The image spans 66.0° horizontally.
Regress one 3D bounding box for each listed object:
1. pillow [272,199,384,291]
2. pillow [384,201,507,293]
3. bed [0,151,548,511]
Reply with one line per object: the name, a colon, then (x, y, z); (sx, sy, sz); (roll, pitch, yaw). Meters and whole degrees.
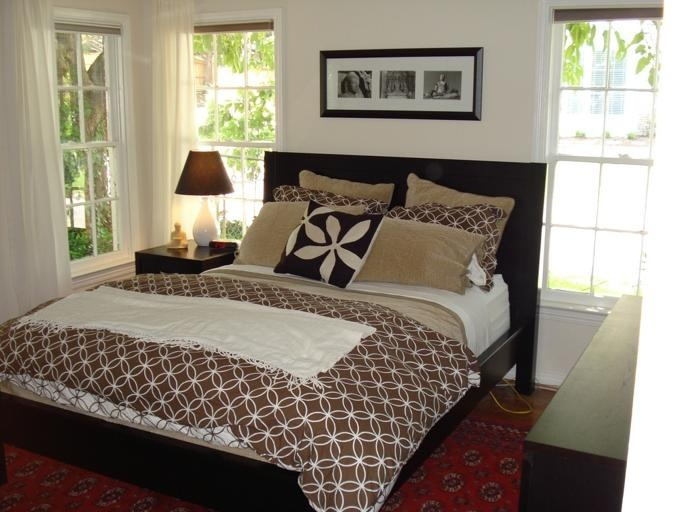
pillow: (-0.071, -0.092, 3.139); (0.585, 0.501, 0.171); (13, -21, 34)
pillow: (0.785, 0.064, 3.462); (0.681, 0.190, 0.601); (10, 49, 21)
bed: (0.026, 0.405, 2.934); (2.028, 1.369, 2.370); (7, 14, 27)
